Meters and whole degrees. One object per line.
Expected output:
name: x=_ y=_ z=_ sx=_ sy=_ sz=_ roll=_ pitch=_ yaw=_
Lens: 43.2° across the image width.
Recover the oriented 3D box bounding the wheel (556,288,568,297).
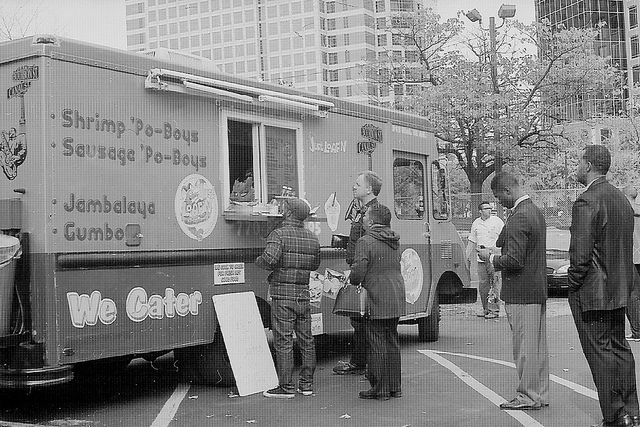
wheel: x=5.509 y=1.831 z=18.611 sx=0.231 sy=0.278 sz=0.601 roll=0 pitch=3 yaw=16

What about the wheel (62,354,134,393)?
wheel: x=-2.952 y=2.144 z=10.712 sx=0.634 sy=0.230 sz=0.957 roll=-15 pitch=-5 yaw=13

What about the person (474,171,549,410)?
person: x=2.352 y=0.901 z=9.787 sx=0.743 sy=2.789 sz=1.137 roll=0 pitch=3 yaw=15

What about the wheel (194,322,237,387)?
wheel: x=-1.398 y=1.826 z=10.269 sx=0.584 sy=0.859 sz=0.299 roll=1 pitch=3 yaw=23

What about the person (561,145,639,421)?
person: x=3.015 y=0.717 z=8.702 sx=0.710 sy=2.916 sz=0.586 roll=0 pitch=3 yaw=15

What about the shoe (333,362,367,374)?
shoe: x=0.428 y=2.165 z=11.226 sx=0.517 sy=0.222 sz=0.188 roll=0 pitch=0 yaw=5

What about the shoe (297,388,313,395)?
shoe: x=-0.190 y=2.231 z=10.060 sx=0.065 sy=0.103 sz=0.226 roll=2 pitch=3 yaw=36

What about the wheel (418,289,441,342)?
wheel: x=1.736 y=1.657 z=13.073 sx=0.263 sy=0.904 sz=0.853 roll=-1 pitch=1 yaw=6

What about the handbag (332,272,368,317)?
handbag: x=0.398 y=1.080 z=10.283 sx=0.431 sy=0.600 sz=0.333 roll=9 pitch=-43 yaw=6
